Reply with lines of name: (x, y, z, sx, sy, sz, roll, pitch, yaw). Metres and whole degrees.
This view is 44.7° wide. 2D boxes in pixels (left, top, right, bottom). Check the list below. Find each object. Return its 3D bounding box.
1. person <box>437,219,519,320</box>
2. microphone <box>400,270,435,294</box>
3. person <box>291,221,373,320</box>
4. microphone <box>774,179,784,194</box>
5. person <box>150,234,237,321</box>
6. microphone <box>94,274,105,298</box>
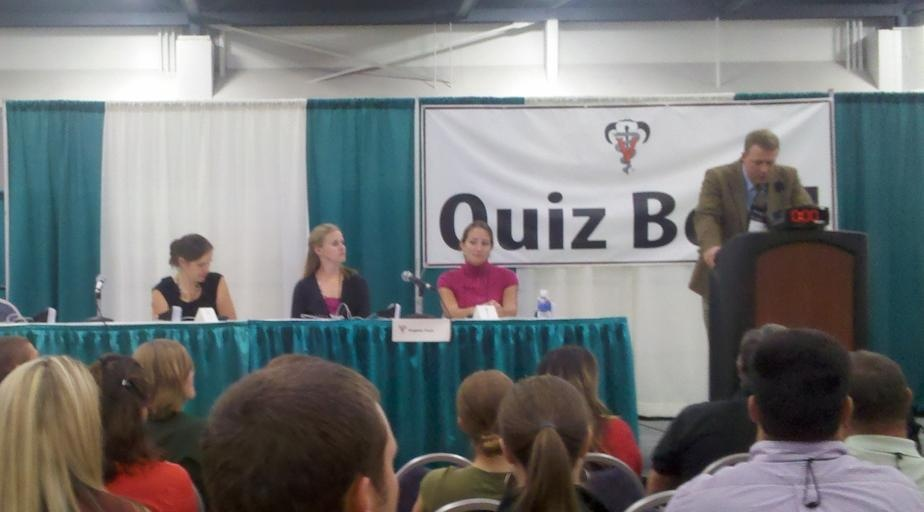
person: (0.152, 0.212, 11.379, 0.827, 1.116, 0.824, -1, -7, 5)
microphone: (-0.512, 0.222, 10.776, 0.155, 0.173, 0.507, 0, 12, -44)
person: (-1.330, 0.142, 11.261, 0.759, 0.936, 0.281, -2, -2, -10)
microphone: (3.248, -0.711, 11.479, 0.102, 0.102, 0.030, -34, -3, -14)
person: (-2.730, 0.205, 11.361, 0.791, 0.841, 0.240, -1, -2, -17)
microphone: (-3.635, 0.316, 11.283, 0.085, 0.260, 1.652, -1, -3, -18)
